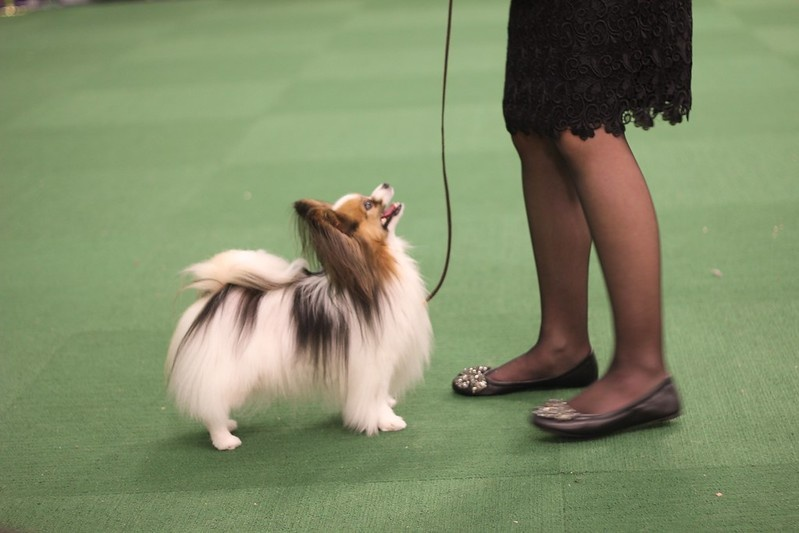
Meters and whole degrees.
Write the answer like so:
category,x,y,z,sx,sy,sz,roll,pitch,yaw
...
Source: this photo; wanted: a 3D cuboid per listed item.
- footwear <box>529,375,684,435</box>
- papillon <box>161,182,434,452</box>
category,x,y,z,sx,sy,sz,roll,pitch,yaw
footwear,0.810,0.582,3.075,0.594,0.225,0.234,-6,4,-6
papillon,-0.411,0.194,3.269,1.072,0.982,0.647,-3,12,-4
